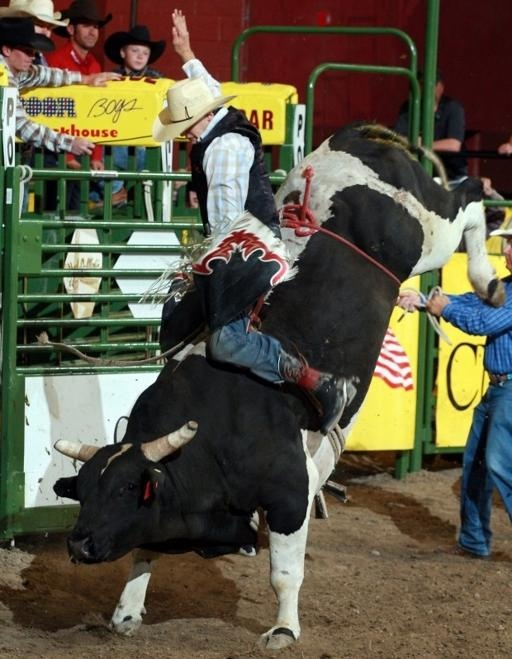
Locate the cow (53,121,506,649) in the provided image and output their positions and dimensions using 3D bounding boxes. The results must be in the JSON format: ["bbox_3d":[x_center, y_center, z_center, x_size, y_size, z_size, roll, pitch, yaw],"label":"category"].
[{"bbox_3d":[0.060,0.282,4.868,0.818,2.500,1.318,17,-15,44],"label":"cow"}]

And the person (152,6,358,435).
[{"bbox_3d":[-0.042,-0.304,4.201,0.582,1.391,0.767,-3,9,-42],"label":"person"}]

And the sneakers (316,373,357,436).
[{"bbox_3d":[0.283,0.278,4.185,0.104,0.129,0.300,-26,23,38],"label":"sneakers"}]

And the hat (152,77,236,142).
[{"bbox_3d":[-0.296,-0.893,4.221,0.324,0.132,0.270,-43,27,-17],"label":"hat"}]

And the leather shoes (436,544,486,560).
[{"bbox_3d":[1.109,1.198,5.644,0.267,0.106,0.081,-7,-13,39],"label":"leather shoes"}]
